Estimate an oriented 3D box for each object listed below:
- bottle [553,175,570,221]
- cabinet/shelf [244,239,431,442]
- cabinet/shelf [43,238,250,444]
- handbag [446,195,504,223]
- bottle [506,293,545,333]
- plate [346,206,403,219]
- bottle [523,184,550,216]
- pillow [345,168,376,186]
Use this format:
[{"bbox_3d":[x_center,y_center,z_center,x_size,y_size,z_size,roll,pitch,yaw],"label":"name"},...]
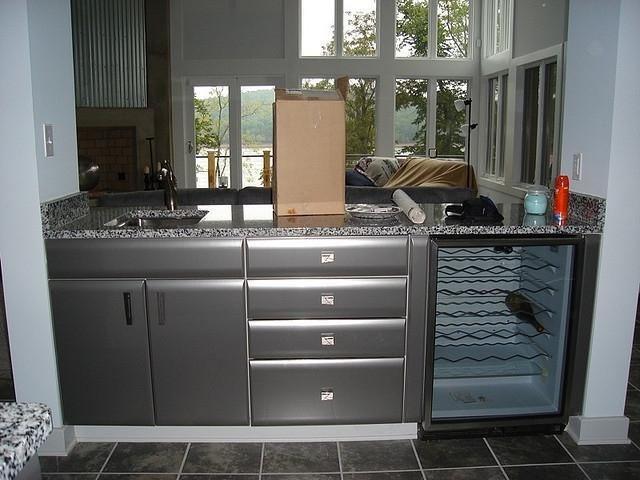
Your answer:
[{"bbox_3d":[1.246,-0.216,2.552,0.071,0.219,0.278,4,14,26],"label":"bottle"},{"bbox_3d":[0.069,0.446,2.885,1.156,1.078,1.065,2,8,21],"label":"cabinet/shelf"},{"bbox_3d":[-0.851,0.430,2.724,1.004,0.999,0.610,-1,12,-5],"label":"cabinet/shelf"},{"bbox_3d":[0.812,-0.161,2.619,0.332,0.114,0.372,-2,12,4],"label":"handbag"},{"bbox_3d":[1.160,0.412,2.847,0.112,0.113,0.212,-40,25,19],"label":"bottle"},{"bbox_3d":[0.286,-0.159,2.724,0.296,0.052,0.290,-1,12,9],"label":"plate"},{"bbox_3d":[1.196,-0.230,2.743,0.126,0.181,0.177,0,1,10],"label":"bottle"},{"bbox_3d":[0.531,-0.846,6.812,0.444,0.147,0.464,1,12,-4],"label":"pillow"}]
